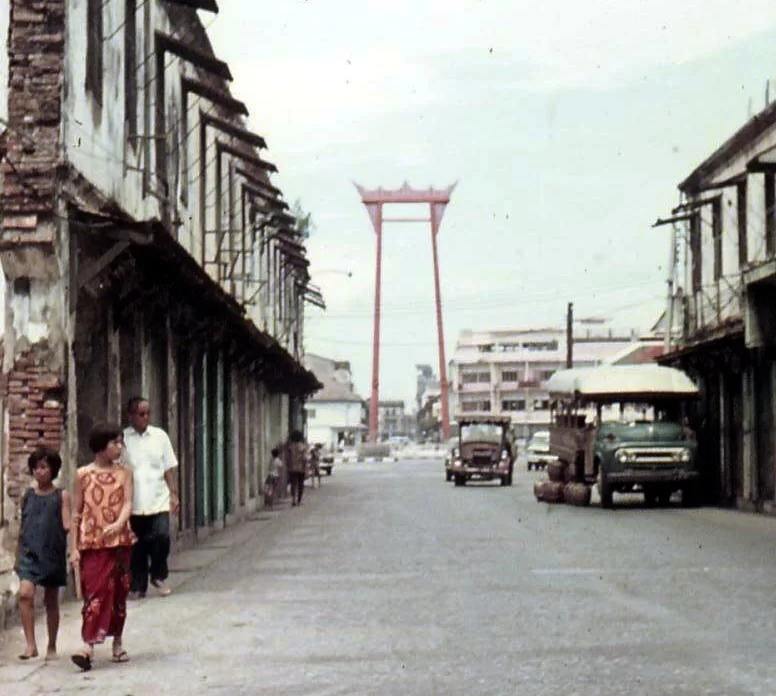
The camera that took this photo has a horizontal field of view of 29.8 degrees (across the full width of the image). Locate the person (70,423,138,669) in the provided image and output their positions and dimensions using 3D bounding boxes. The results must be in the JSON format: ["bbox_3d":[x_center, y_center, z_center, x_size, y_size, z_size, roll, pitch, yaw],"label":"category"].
[{"bbox_3d":[-2.271,1.563,11.617,0.490,1.946,0.679,1,-6,-13],"label":"person"}]

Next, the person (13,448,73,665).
[{"bbox_3d":[-2.802,1.668,11.783,0.415,1.696,0.602,2,-6,-15],"label":"person"}]

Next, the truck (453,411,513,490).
[{"bbox_3d":[2.937,3.054,44.317,1.081,1.703,2.585,-1,-10,2],"label":"truck"}]

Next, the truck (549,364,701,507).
[{"bbox_3d":[4.641,1.722,29.216,2.054,2.988,4.147,2,-7,-14],"label":"truck"}]

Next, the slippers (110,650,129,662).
[{"bbox_3d":[-2.139,2.469,11.650,0.132,0.091,0.216,2,-8,-12],"label":"slippers"}]
